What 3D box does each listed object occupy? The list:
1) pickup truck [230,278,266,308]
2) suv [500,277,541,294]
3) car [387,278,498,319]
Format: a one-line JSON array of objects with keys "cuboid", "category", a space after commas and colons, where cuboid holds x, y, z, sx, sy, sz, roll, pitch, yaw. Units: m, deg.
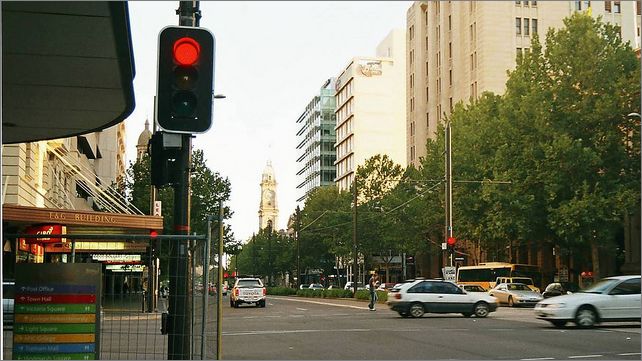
[{"cuboid": [-5.218, 8.004, 62.738, 2.154, 2.297, 3.111, 0, -13, -12], "category": "pickup truck"}, {"cuboid": [15.021, 7.651, 66.899, 1.415, 1.069, 2.277, 3, -12, -20], "category": "suv"}, {"cuboid": [6.667, 6.287, 48.139, 5.812, 1.935, 2.432, 1, 1, -6], "category": "car"}]
